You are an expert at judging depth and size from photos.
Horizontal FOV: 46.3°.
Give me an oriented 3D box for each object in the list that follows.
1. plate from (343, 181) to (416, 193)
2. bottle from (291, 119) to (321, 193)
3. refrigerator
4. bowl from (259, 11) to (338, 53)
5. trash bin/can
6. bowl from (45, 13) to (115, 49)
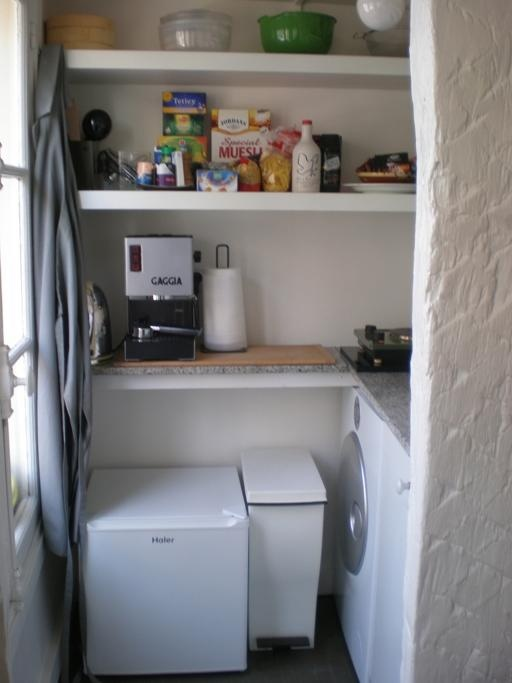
[{"bbox_3d":[0.382,-0.462,1.808,0.131,0.027,0.092,1,15,8],"label":"plate"},{"bbox_3d":[0.149,-0.545,1.818,0.085,0.235,0.102,1,-6,9],"label":"bottle"},{"bbox_3d":[-0.245,0.689,2.063,0.533,0.739,0.467,-1,11,-2],"label":"refrigerator"},{"bbox_3d":[0.115,-0.863,1.700,0.133,0.079,0.141,-2,8,0],"label":"bowl"},{"bbox_3d":[0.089,0.722,2.048,0.253,0.617,0.349,-2,9,-2],"label":"trash bin/can"},{"bbox_3d":[-0.501,-0.863,1.692,0.191,0.090,0.081,-6,10,-14],"label":"bowl"}]
